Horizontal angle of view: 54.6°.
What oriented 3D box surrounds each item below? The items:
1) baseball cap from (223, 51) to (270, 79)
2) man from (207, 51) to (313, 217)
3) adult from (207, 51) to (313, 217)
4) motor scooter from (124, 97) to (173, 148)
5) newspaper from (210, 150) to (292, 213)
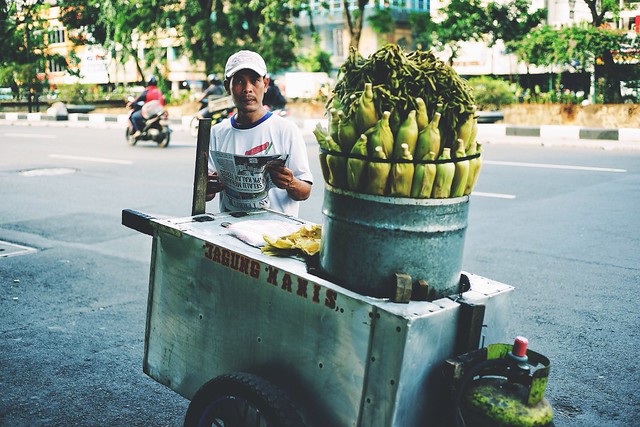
[{"bbox_3d":[-0.562,-1.114,4.681,0.307,0.204,0.212,-2,12,-10],"label":"baseball cap"},{"bbox_3d":[-0.556,-0.493,4.793,0.821,1.423,0.863,2,8,18],"label":"man"},{"bbox_3d":[-0.559,-0.500,4.782,0.838,1.441,0.858,2,7,19],"label":"adult"},{"bbox_3d":[-4.345,-2.291,15.407,0.681,0.985,1.467,-14,25,-41],"label":"motor scooter"},{"bbox_3d":[-0.508,-0.222,4.455,0.478,0.547,0.469,1,-25,-4],"label":"newspaper"}]
